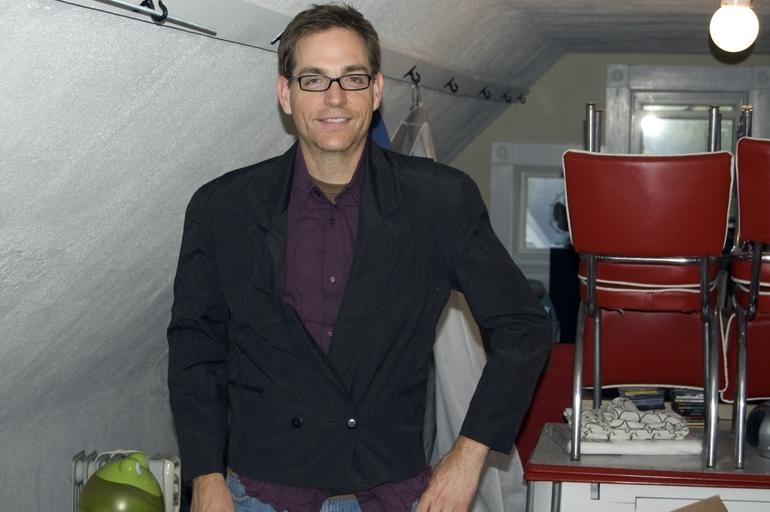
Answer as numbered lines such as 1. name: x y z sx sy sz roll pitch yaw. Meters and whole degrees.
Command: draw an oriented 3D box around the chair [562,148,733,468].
1. chair: 1.006 0.185 2.609 0.564 0.910 0.880 4 -1 26
